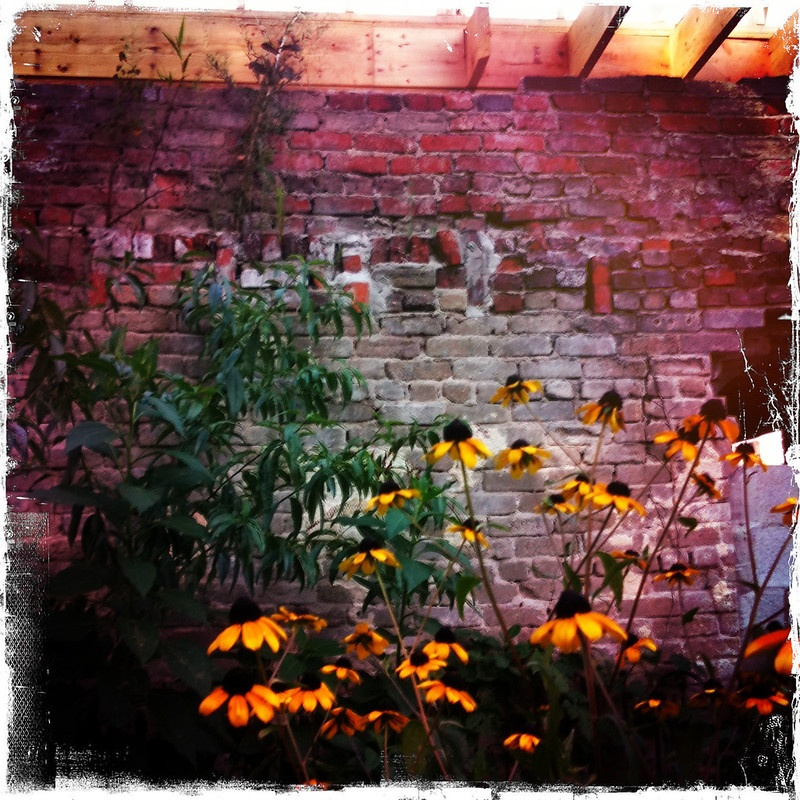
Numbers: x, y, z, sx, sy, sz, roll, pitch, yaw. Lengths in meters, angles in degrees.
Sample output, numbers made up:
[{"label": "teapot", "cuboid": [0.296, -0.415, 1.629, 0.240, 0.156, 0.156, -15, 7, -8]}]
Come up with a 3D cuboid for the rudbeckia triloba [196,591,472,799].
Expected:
[{"label": "rudbeckia triloba", "cuboid": [-0.137, 0.512, 1.711, 0.475, 0.198, 0.465, 1, -2, 16]}]

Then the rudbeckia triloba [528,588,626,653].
[{"label": "rudbeckia triloba", "cuboid": [0.315, 0.414, 1.585, 0.148, 0.082, 0.150, -21, -7, 40]}]

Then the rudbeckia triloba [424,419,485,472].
[{"label": "rudbeckia triloba", "cuboid": [0.110, 0.091, 1.730, 0.119, 0.088, 0.121, -7, -4, 36]}]

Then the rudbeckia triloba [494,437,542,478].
[{"label": "rudbeckia triloba", "cuboid": [0.283, 0.137, 1.899, 0.105, 0.053, 0.112, 13, 26, 42]}]

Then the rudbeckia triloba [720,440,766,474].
[{"label": "rudbeckia triloba", "cuboid": [0.916, 0.155, 2.270, 0.134, 0.083, 0.130, 5, -2, 4]}]

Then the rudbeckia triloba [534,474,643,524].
[{"label": "rudbeckia triloba", "cuboid": [0.393, 0.205, 1.780, 0.167, 0.069, 0.161, 1, -5, -23]}]
